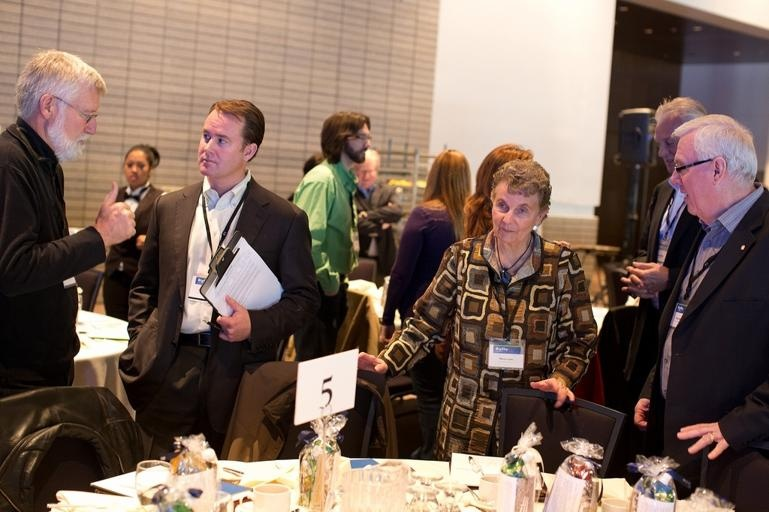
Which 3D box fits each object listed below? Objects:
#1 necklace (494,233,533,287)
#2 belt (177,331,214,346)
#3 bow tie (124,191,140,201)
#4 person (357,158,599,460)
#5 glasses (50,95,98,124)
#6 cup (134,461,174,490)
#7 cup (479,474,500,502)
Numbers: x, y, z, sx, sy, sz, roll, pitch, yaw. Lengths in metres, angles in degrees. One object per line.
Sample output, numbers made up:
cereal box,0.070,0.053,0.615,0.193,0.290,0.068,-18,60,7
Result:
necklace,0.606,0.024,3.128,0.158,0.235,0.056,0,-6,12
belt,-0.920,0.403,3.221,0.109,0.035,0.082,1,3,10
bow tie,-2.199,-0.522,5.770,0.074,0.083,0.022,8,-23,-2
person,0.485,0.576,3.385,1.009,2.064,0.834,6,29,16
glasses,-1.469,-0.666,3.113,0.132,0.040,0.100,35,0,-15
cup,-0.801,0.739,2.348,0.130,0.132,0.135,1,-8,0
cup,0.405,0.886,2.563,0.076,0.060,0.079,-4,3,0
